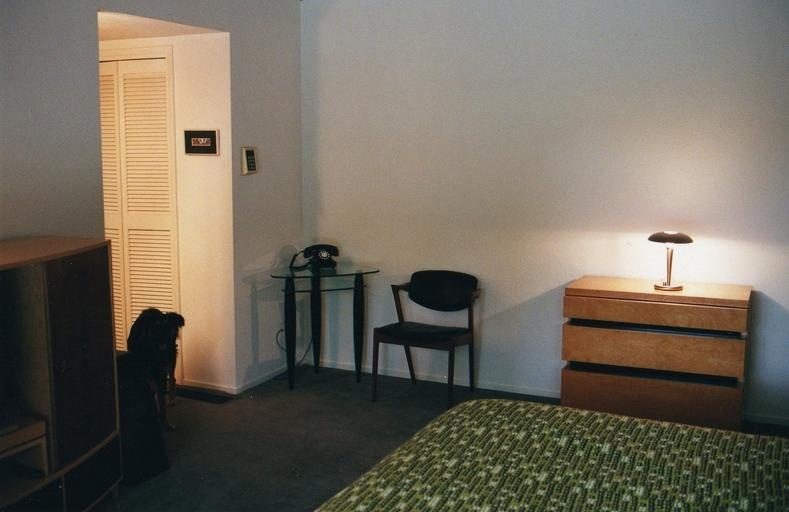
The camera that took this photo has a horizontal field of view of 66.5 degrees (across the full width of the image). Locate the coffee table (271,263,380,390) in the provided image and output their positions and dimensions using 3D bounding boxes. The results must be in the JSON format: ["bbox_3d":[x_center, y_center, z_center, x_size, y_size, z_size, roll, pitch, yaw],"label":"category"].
[{"bbox_3d":[-0.501,0.390,5.553,1.261,1.128,0.929,-3,13,-19],"label":"coffee table"}]

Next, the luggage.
[{"bbox_3d":[-1.651,1.031,3.879,0.266,0.743,0.336,-8,16,-25],"label":"luggage"}]

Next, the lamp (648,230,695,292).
[{"bbox_3d":[1.994,0.024,4.432,0.415,0.491,0.417,3,4,37],"label":"lamp"}]
